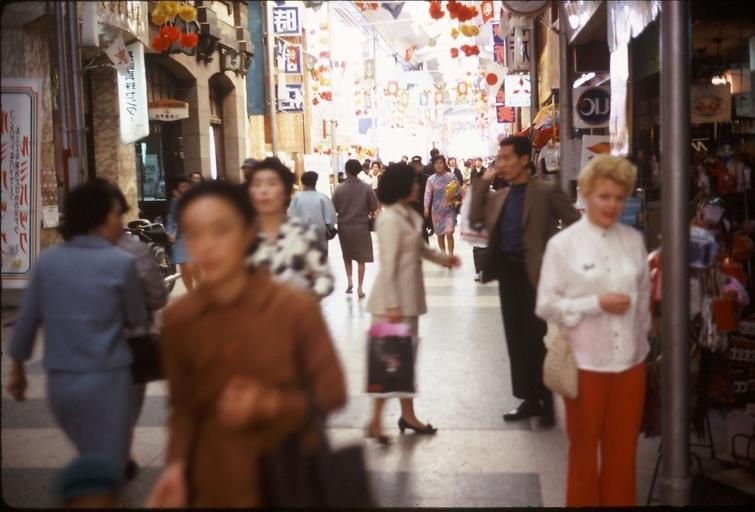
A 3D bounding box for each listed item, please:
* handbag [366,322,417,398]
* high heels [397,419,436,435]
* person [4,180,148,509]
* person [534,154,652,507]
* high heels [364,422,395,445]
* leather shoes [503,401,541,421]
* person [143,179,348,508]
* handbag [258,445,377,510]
[{"bbox_3d":[0.102,0.777,5.065,0.407,0.578,0.449,4,-13,-28],"label":"handbag"},{"bbox_3d":[0.343,1.487,5.893,0.366,0.167,0.124,-2,-3,8],"label":"high heels"},{"bbox_3d":[-1.725,0.515,3.899,0.692,1.806,0.499,-4,9,-20],"label":"person"},{"bbox_3d":[1.343,0.457,4.147,0.696,2.114,0.437,-1,8,2],"label":"person"},{"bbox_3d":[0.002,1.486,5.627,0.301,0.203,0.111,1,13,3],"label":"high heels"},{"bbox_3d":[1.310,1.391,6.136,0.422,0.179,0.142,-2,5,-5],"label":"leather shoes"},{"bbox_3d":[-0.600,0.422,3.016,0.839,1.453,0.213,1,8,12],"label":"person"},{"bbox_3d":[-0.282,0.985,3.091,0.505,0.308,0.408,3,-19,-3],"label":"handbag"}]
